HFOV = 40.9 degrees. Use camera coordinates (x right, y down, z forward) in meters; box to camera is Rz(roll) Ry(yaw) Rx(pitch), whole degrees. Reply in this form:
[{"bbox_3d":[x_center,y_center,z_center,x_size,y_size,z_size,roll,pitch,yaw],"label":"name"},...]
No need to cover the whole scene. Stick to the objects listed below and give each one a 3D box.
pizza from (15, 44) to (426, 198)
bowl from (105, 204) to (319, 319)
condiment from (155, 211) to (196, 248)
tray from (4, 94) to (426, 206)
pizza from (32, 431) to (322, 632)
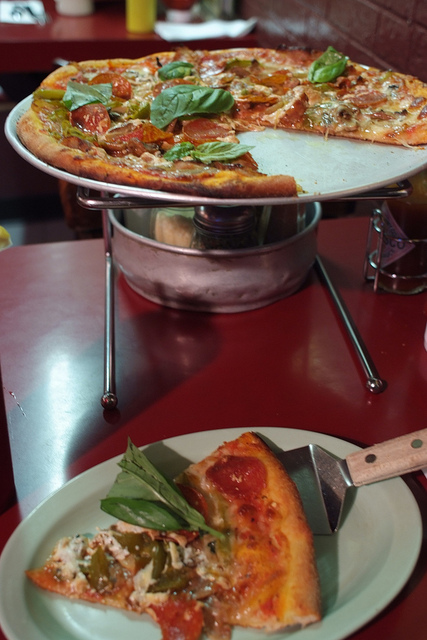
[{"bbox_3d":[0.030,-0.291,0.739,0.554,0.115,0.656,-6,27,-16],"label":"pizza"},{"bbox_3d":[-0.003,-0.125,0.649,0.175,0.100,0.194,19,41,22],"label":"bowl"},{"bbox_3d":[-0.046,-0.106,0.680,0.029,0.031,0.048,-17,52,-12],"label":"condiment"},{"bbox_3d":[0.040,-0.156,0.570,0.267,0.018,0.248,2,36,-1],"label":"tray"},{"bbox_3d":[-0.013,0.122,0.384,0.175,0.069,0.152,6,27,7],"label":"pizza"}]
